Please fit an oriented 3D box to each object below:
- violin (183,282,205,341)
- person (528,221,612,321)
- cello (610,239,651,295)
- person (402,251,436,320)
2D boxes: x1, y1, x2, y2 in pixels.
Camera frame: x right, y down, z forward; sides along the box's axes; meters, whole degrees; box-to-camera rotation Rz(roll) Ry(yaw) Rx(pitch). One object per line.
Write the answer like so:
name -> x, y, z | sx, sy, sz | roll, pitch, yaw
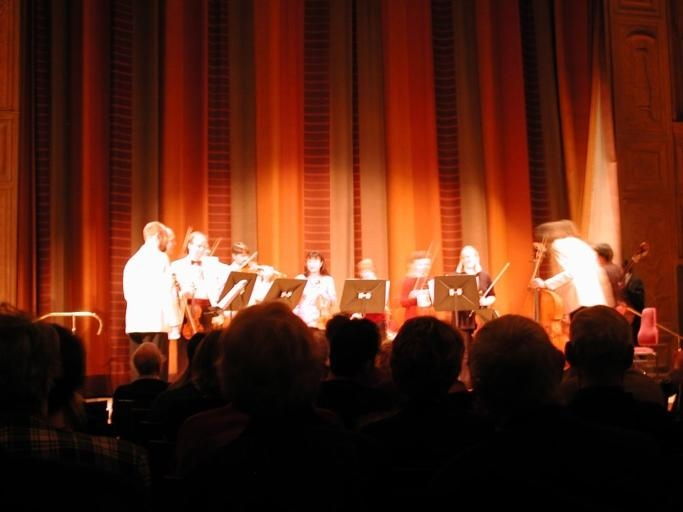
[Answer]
violin -> -1.373, 0.517, 6.162 | 0.295, 0.508, 0.153 | 4, -20, -43
person -> 2.153, 0.078, 6.089 | 0.506, 0.936, 0.950 | 0, -6, 2
cello -> 3.346, 0.150, 7.602 | 0.362, 0.659, 0.164 | 31, -1, -16
person -> 0.868, 0.301, 7.422 | 0.347, 0.812, 1.278 | -1, -6, 8
